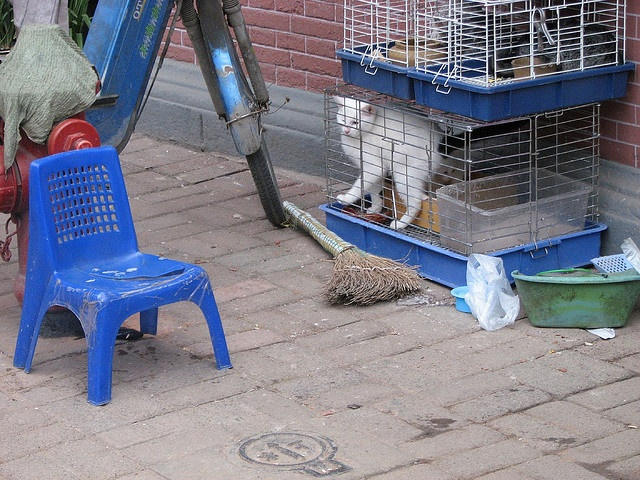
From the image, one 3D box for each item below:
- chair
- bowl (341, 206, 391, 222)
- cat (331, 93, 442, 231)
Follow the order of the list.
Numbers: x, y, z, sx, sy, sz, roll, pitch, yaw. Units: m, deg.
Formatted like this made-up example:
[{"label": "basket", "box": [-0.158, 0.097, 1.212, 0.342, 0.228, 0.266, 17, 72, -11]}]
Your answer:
[{"label": "chair", "box": [-1.082, 0.146, 4.005, 0.814, 1.003, 0.939, -19, 31, -29]}, {"label": "bowl", "box": [0.260, -0.169, 5.349, 0.340, 0.062, 0.103, 6, 21, 19]}, {"label": "cat", "box": [0.406, -0.473, 5.149, 0.769, 0.762, 0.374, 21, 37, 39]}]
